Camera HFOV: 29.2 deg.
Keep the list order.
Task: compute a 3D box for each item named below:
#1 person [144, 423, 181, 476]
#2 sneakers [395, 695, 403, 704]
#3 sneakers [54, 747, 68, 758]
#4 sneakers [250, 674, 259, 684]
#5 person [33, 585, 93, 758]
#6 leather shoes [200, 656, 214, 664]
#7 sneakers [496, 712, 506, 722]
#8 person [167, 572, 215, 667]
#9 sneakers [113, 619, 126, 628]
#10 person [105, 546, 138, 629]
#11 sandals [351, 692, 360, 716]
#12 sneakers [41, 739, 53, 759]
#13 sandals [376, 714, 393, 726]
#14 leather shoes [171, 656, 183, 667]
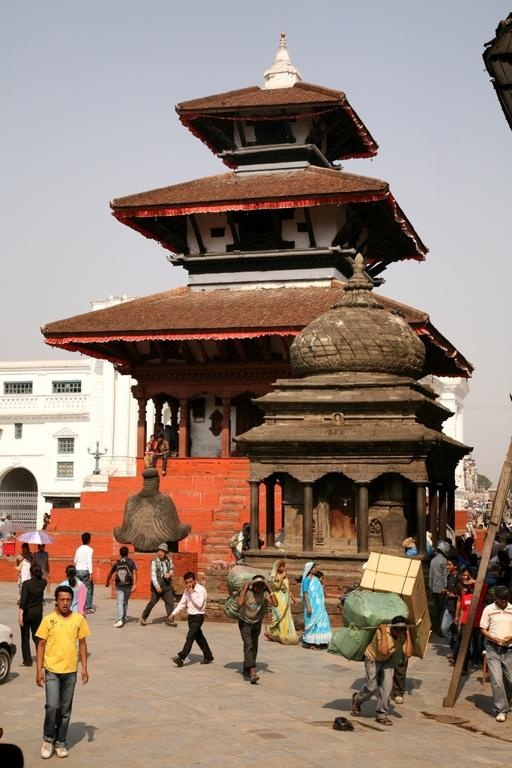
[{"bbox_3d":[-2.749,1.986,29.225,0.803,1.089,1.917,-3,26,3],"label":"person"},{"bbox_3d":[1.534,3.399,10.620,0.124,0.111,0.064,0,-10,3],"label":"sneakers"},{"bbox_3d":[-1.626,3.082,8.274,0.108,0.078,0.127,3,-5,-11],"label":"sneakers"},{"bbox_3d":[-0.023,3.392,11.340,0.081,0.067,0.156,0,-20,-1],"label":"sneakers"},{"bbox_3d":[-1.674,2.461,8.486,0.432,1.352,0.485,3,-6,-11],"label":"person"},{"bbox_3d":[-0.631,3.531,12.621,0.161,0.139,0.071,5,-8,-4],"label":"leather shoes"},{"bbox_3d":[2.470,3.372,9.986,0.092,0.099,0.152,1,-5,11],"label":"sneakers"},{"bbox_3d":[-0.786,2.995,12.705,0.548,1.206,1.251,2,-5,-4],"label":"person"},{"bbox_3d":[-2.193,3.813,15.720,0.103,0.091,0.203,6,-2,3],"label":"sneakers"},{"bbox_3d":[-2.216,3.306,16.242,0.417,1.244,1.359,3,-5,-8],"label":"person"},{"bbox_3d":[1.005,3.244,9.983,0.086,0.220,0.070,-3,14,10],"label":"sandals"},{"bbox_3d":[-1.742,3.054,8.227,0.088,0.126,0.111,3,-6,-16],"label":"sneakers"},{"bbox_3d":[1.249,3.294,9.677,0.167,0.086,0.141,1,-5,11],"label":"sandals"},{"bbox_3d":[-0.976,3.479,12.383,0.147,0.140,0.369,2,-5,-5],"label":"leather shoes"}]
